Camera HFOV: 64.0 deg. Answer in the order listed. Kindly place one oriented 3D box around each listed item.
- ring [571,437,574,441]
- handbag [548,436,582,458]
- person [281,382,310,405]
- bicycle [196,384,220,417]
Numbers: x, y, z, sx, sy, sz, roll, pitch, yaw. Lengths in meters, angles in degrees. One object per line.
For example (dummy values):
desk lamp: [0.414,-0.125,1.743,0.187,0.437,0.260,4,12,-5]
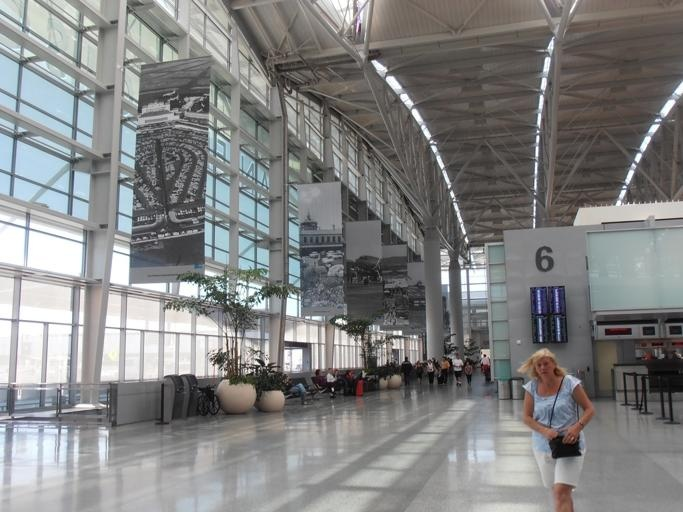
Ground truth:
ring: [2.270,1.796,5.390,0.031,0.033,0.010,0,-2,20]
handbag: [2.214,1.888,5.420,0.195,0.194,0.084,-5,-19,2]
person: [-1.911,5.520,22.237,0.792,0.655,1.210,27,-34,-30]
bicycle: [-4.310,4.688,17.737,0.938,0.954,0.661,-4,-12,18]
